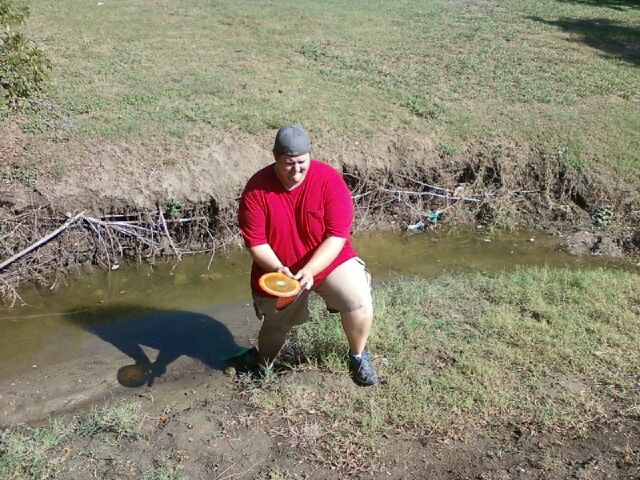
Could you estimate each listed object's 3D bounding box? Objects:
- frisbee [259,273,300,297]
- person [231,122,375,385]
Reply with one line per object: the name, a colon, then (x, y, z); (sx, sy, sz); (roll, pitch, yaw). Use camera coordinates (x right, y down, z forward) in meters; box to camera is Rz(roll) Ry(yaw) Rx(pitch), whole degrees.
frisbee: (-0.401, 0.442, 5.505); (0.406, 0.148, 0.217); (10, 34, 10)
person: (-0.185, 0.358, 5.875); (1.148, 2.905, 1.391); (-20, 43, -29)
